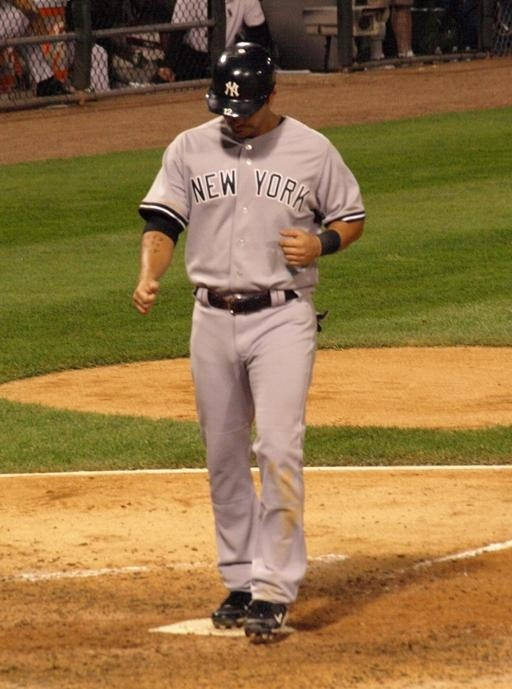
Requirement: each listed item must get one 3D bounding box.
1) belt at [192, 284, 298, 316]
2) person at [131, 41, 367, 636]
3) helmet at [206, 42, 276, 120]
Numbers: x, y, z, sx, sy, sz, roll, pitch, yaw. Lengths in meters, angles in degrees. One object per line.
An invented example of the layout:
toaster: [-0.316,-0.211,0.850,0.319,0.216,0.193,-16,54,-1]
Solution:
belt: [-0.050,-0.163,5.285,0.398,0.091,0.119,4,13,16]
person: [-0.020,-0.019,5.306,0.810,2.105,0.600,1,11,4]
helmet: [-0.054,-0.964,5.290,0.243,0.256,0.360,1,13,7]
